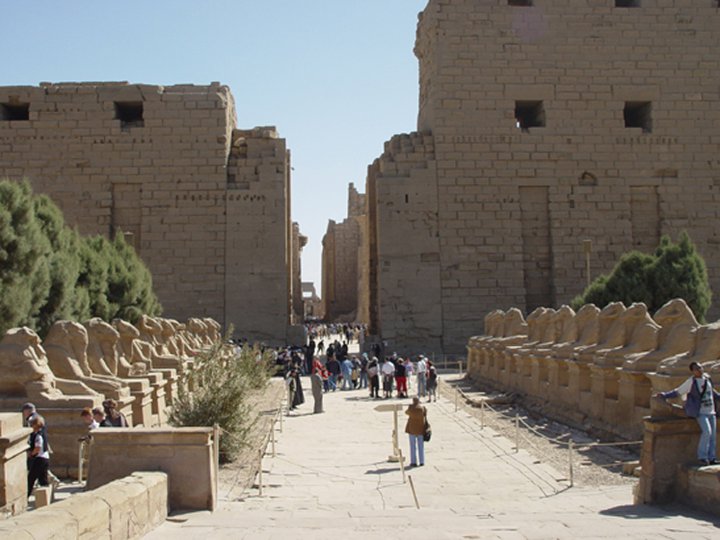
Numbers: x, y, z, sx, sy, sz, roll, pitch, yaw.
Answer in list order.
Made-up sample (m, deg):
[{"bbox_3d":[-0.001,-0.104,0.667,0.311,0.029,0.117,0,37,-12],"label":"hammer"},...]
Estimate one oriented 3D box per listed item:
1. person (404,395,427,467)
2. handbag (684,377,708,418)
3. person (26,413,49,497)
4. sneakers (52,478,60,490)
[{"bbox_3d":[1.353,3.813,30.495,0.511,1.625,0.703,-1,-3,1],"label":"person"},{"bbox_3d":[7.235,2.751,27.938,0.476,0.798,0.788,11,-10,3],"label":"handbag"},{"bbox_3d":[-6.825,3.988,27.692,0.452,1.697,0.418,0,-3,-15],"label":"person"},{"bbox_3d":[-6.515,4.638,27.986,0.127,0.203,0.319,-2,-4,15],"label":"sneakers"}]
